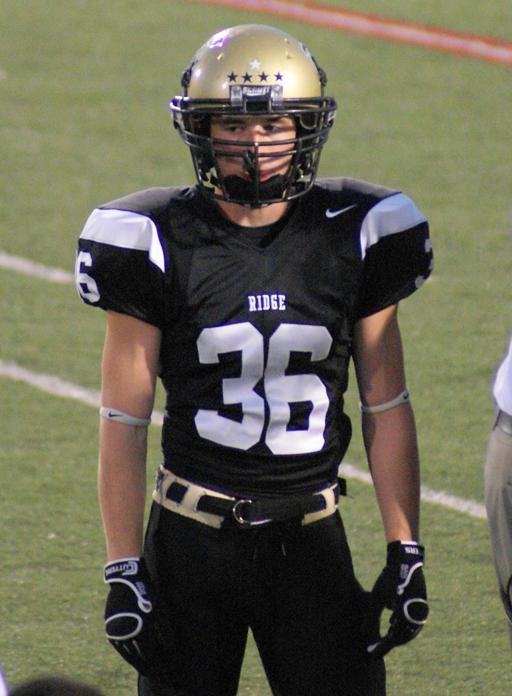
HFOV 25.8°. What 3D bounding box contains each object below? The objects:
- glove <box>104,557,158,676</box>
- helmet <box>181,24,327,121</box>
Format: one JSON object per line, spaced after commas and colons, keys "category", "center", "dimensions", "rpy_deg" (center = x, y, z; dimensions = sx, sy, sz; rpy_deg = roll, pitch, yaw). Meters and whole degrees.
{"category": "glove", "center": [-0.253, 0.542, 2.243], "dimensions": [0.103, 0.204, 0.174], "rpy_deg": [-12, 34, -8]}
{"category": "helmet", "center": [-0.005, -0.615, 2.421], "dimensions": [0.336, 0.163, 0.299], "rpy_deg": [-3, 26, -3]}
